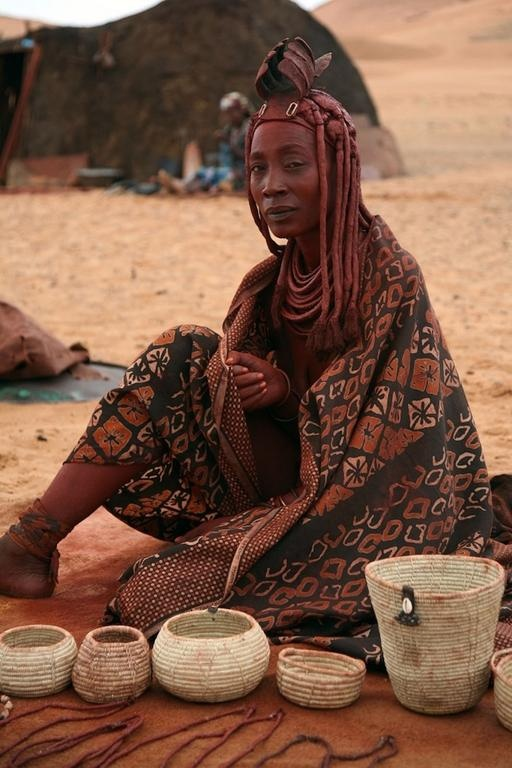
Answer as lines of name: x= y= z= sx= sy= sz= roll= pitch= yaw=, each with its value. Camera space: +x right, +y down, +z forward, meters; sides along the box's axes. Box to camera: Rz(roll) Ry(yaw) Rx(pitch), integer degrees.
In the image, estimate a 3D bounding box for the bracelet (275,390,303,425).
bracelet: x=0.107 y=0.077 z=2.666 sx=0.079 sy=0.110 sz=0.108 roll=-3 pitch=43 yaw=14
